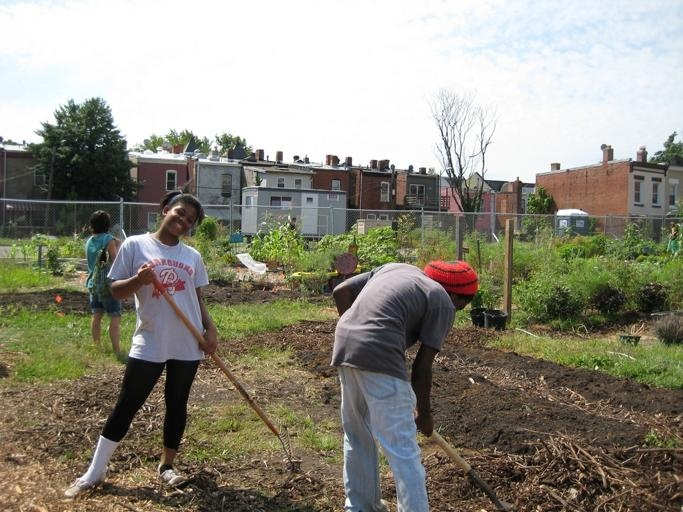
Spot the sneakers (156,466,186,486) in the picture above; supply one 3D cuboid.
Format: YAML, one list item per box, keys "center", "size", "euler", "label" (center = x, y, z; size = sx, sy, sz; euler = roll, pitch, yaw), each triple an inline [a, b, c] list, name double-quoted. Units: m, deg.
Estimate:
- center: [-1.536, 1.993, 6.319]
  size: [0.122, 0.136, 0.291]
  euler: [-3, -2, -40]
  label: "sneakers"

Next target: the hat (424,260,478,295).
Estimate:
- center: [0.972, 0.187, 6.027]
  size: [0.354, 0.197, 0.285]
  euler: [27, 8, 14]
  label: "hat"

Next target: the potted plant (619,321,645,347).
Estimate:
- center: [4.568, 1.226, 10.886]
  size: [0.441, 0.540, 0.410]
  euler: [0, -1, 22]
  label: "potted plant"

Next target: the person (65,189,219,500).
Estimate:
- center: [-1.713, 0.749, 6.322]
  size: [1.126, 2.580, 0.636]
  euler: [-3, 9, -19]
  label: "person"
